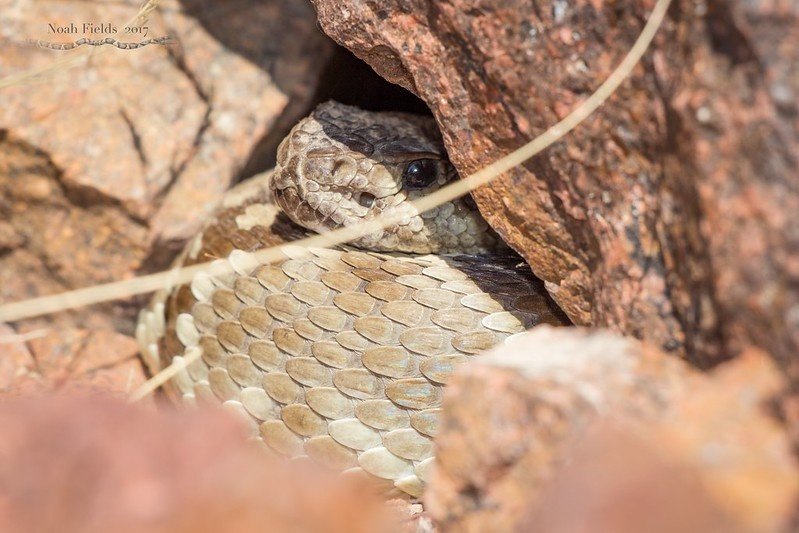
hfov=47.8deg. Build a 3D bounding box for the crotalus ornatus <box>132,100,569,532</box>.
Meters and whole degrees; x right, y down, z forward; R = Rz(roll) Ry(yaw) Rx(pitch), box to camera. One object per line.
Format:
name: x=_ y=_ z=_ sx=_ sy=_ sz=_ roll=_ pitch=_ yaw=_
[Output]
crotalus ornatus: x=-0.113 y=0.074 z=2.153 sx=1.023 sy=1.059 sz=0.475 roll=-5 pitch=-6 yaw=10
